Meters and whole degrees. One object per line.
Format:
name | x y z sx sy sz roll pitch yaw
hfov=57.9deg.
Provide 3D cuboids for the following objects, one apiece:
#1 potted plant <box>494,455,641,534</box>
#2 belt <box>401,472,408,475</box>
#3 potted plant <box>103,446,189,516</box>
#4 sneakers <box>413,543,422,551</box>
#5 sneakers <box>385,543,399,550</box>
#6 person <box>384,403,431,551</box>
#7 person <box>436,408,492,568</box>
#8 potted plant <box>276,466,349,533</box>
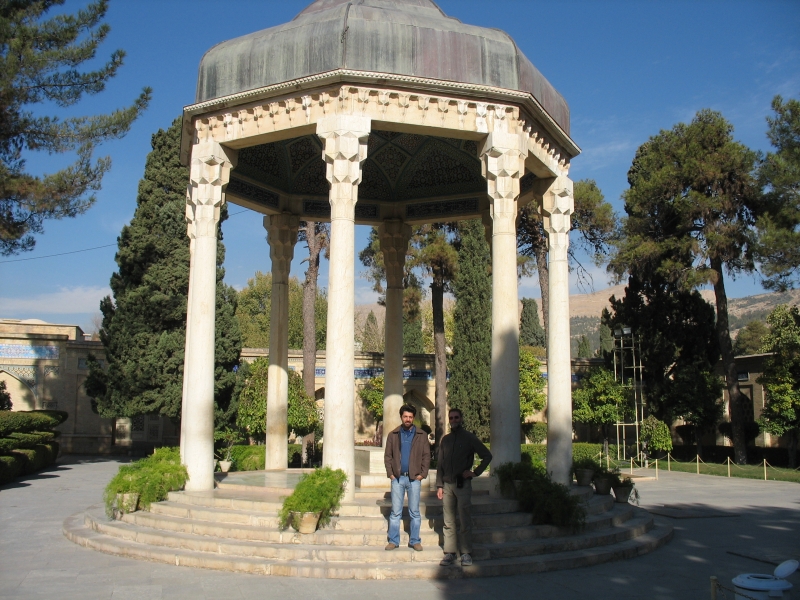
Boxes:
potted plant | 2.861 3.922 14.549 0.992 1.278 1.560 7 -14 -35
belt | 0.095 3.044 12.683 0.130 0.069 0.032 -3 -11 10
potted plant | -5.361 3.880 15.356 1.581 1.312 1.038 4 -12 -25
sneakers | 0.306 4.347 12.685 0.193 0.117 0.103 -2 -11 2
sneakers | -0.140 4.309 12.613 0.099 0.091 0.206 -6 -19 21
person | 0.131 3.140 12.733 0.786 2.505 0.619 -1 -11 1
person | 1.096 3.247 12.732 0.878 2.694 0.890 -2 -11 4
potted plant | -1.589 3.653 13.309 0.768 0.613 1.151 -4 -2 4
